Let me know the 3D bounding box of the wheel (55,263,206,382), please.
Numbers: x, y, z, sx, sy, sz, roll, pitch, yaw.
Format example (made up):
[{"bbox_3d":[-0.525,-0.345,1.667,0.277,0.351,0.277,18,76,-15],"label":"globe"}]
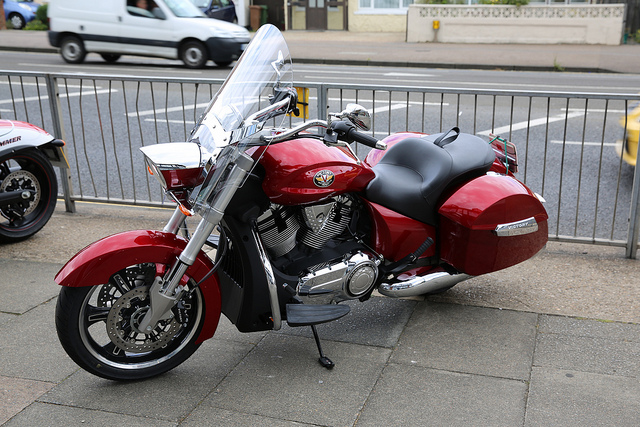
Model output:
[{"bbox_3d":[-1.322,0.739,4.081,1.071,1.124,0.208,-1,26,-24],"label":"wheel"}]

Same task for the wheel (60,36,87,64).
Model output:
[{"bbox_3d":[-7.778,-5.206,17.438,0.578,0.581,0.205,-14,22,10],"label":"wheel"}]

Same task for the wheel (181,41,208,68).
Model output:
[{"bbox_3d":[-3.776,-4.820,16.630,0.582,0.587,0.208,-15,31,12],"label":"wheel"}]

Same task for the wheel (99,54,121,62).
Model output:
[{"bbox_3d":[-7.051,-5.215,18.473,0.565,0.144,0.554,0,9,0],"label":"wheel"}]

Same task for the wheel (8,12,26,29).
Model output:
[{"bbox_3d":[-16.427,-10.465,29.925,1.023,0.798,0.225,8,25,21],"label":"wheel"}]
